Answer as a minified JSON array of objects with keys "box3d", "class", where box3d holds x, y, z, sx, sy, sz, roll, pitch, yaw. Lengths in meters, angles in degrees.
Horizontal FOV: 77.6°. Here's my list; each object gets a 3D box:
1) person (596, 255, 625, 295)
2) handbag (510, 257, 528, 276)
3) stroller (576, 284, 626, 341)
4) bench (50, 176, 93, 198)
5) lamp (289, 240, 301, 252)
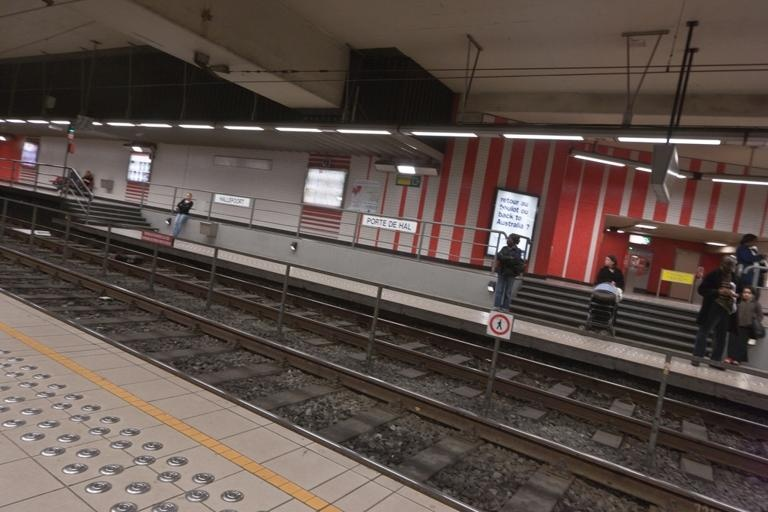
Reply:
[{"box3d":[6.071,0.516,12.678,0.756,0.910,0.588,4,-1,7],"class":"person"},{"box3d":[3.586,0.261,12.562,0.197,0.442,0.464,12,8,34],"class":"handbag"},{"box3d":[5.660,1.352,12.235,0.715,1.399,1.004,10,7,26],"class":"stroller"},{"box3d":[-13.944,-3.115,21.355,1.093,0.889,5.560,2,6,-36],"class":"bench"},{"box3d":[-3.037,-0.344,16.310,0.310,0.317,0.206,8,15,14],"class":"lamp"}]
